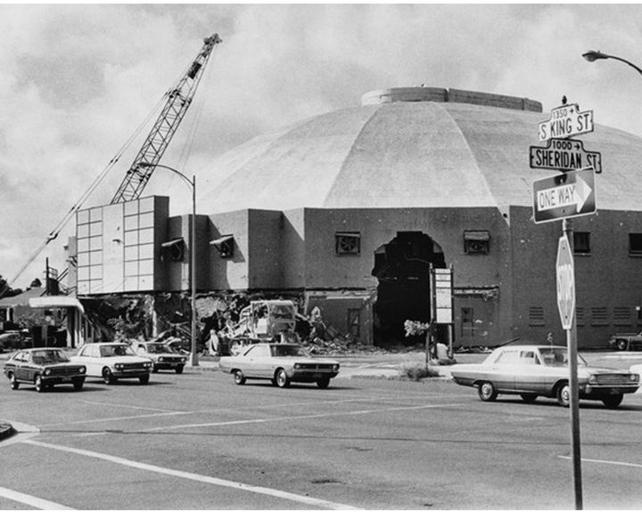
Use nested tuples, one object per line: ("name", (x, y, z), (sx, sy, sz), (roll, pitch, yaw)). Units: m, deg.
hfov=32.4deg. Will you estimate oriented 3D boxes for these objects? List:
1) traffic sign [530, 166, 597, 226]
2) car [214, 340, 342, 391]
("traffic sign", (4.487, -1.143, 20.580), (1.280, 0.902, 0.297), (-7, -11, 41))
("car", (-1.593, 3.992, 40.251), (4.059, 1.628, 1.554), (-7, -12, 43))
